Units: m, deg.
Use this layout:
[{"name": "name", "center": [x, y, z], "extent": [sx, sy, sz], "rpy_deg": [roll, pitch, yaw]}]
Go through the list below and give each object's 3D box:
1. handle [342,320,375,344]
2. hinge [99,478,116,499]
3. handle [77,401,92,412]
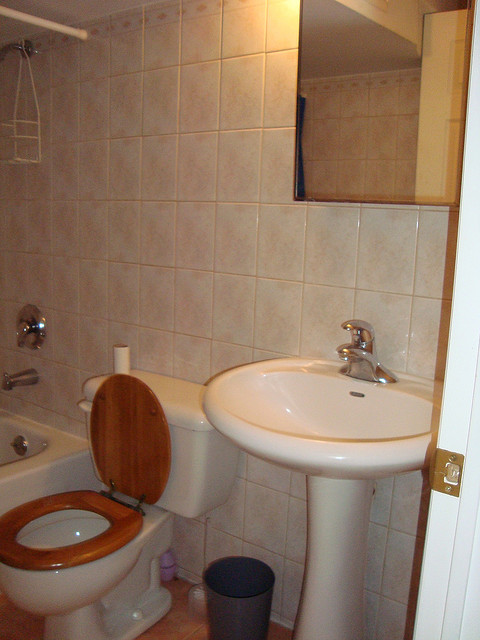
[{"name": "handle", "center": [0.276, 0.025, 1.252], "extent": [0.070, 0.068, 0.043], "rpy_deg": [-9, 11, -5]}, {"name": "hinge", "center": [-0.400, 0.514, 1.659], "extent": [0.019, 0.051, 0.051], "rpy_deg": [11, -16, -31]}, {"name": "handle", "center": [-0.473, 0.268, 1.695], "extent": [0.028, 0.011, 0.039], "rpy_deg": [-19, 20, -32]}]
